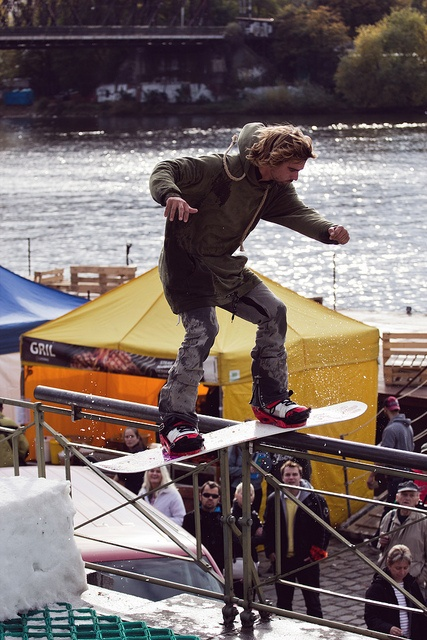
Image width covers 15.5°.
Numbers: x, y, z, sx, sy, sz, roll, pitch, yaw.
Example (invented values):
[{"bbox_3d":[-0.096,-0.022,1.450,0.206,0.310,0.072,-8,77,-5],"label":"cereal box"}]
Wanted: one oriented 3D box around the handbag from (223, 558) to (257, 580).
[{"bbox_3d":[0.802,8.234,52.136,0.930,0.689,0.904,5,-12,-37],"label":"handbag"}]
